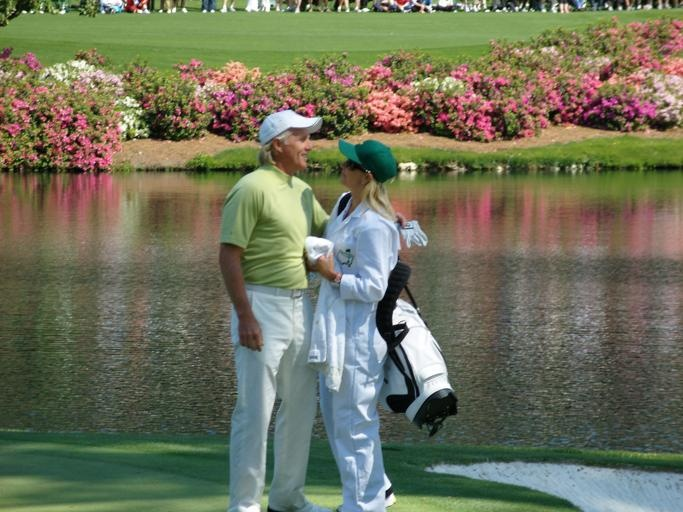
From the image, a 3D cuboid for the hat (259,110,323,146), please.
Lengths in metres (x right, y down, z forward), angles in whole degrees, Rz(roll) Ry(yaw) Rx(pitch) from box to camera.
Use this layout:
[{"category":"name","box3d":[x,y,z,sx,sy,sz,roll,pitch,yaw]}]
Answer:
[{"category":"hat","box3d":[-0.586,-1.484,14.704,0.619,0.270,0.389,-19,14,11]}]
